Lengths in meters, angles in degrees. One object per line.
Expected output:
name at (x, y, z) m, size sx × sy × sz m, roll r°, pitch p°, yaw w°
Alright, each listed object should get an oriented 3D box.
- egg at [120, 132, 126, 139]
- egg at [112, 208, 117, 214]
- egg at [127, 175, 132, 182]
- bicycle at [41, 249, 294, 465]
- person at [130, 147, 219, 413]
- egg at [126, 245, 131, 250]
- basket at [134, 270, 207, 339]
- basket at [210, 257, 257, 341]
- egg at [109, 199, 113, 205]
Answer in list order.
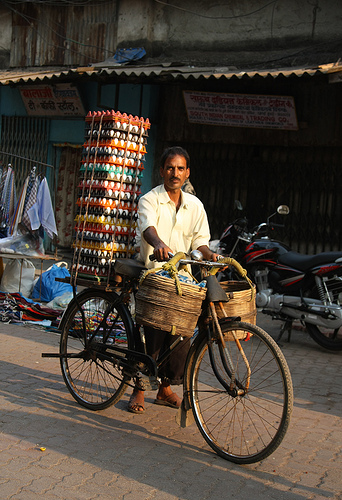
egg at (-0.433, -1.026, 4.164) m, size 0.021 × 0.057 × 0.069 m, roll 5°, pitch 0°, yaw 28°
egg at (-0.506, -0.345, 4.106) m, size 0.023 × 0.054 × 0.041 m, roll 6°, pitch 2°, yaw -40°
egg at (-0.387, -0.657, 4.278) m, size 0.041 × 0.064 × 0.016 m, roll -5°, pitch 8°, yaw 20°
bicycle at (-0.047, 0.559, 2.955) m, size 1.937 × 1.040 × 0.651 m, roll 4°, pitch -9°, yaw 42°
person at (-0.008, 0.225, 3.075) m, size 0.527 × 1.765 × 0.884 m, roll 5°, pitch 0°, yaw -3°
egg at (-0.383, -0.023, 4.161) m, size 0.041 × 0.044 × 0.053 m, roll 2°, pitch 4°, yaw -3°
basket at (-0.022, 0.307, 2.609) m, size 0.388 × 0.284 × 0.388 m, roll 10°, pitch -6°, yaw 26°
basket at (0.378, 0.268, 2.781) m, size 0.260 × 0.401 × 0.307 m, roll -6°, pitch 11°, yaw 43°
egg at (-0.532, -0.423, 4.088) m, size 0.014 × 0.054 × 0.042 m, roll 5°, pitch 1°, yaw -8°
